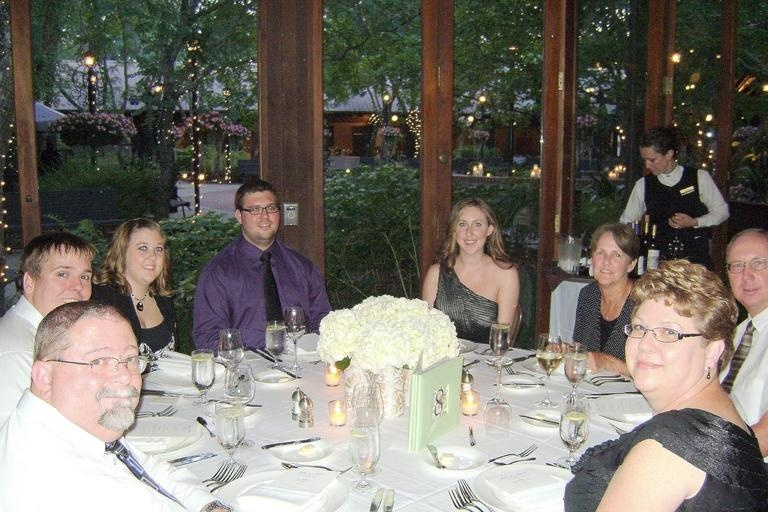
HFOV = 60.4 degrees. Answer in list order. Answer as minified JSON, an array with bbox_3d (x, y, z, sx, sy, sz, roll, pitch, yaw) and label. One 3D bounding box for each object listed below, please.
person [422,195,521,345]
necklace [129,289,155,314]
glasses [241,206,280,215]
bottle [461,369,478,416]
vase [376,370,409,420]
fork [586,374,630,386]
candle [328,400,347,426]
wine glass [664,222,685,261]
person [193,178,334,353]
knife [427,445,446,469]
[{"bbox_3d":[0.522,0.236,4.247,0.644,1.148,0.612,3,12,20],"label":"person"},{"bbox_3d":[-1.393,0.262,3.795,0.014,0.112,0.132,-13,-13,30],"label":"necklace"},{"bbox_3d":[-0.807,-0.299,4.310,0.230,0.061,0.075,-1,1,-18],"label":"glasses"},{"bbox_3d":[0.387,0.606,3.006,0.064,0.166,0.062,-5,0,0],"label":"bottle"},{"bbox_3d":[0.018,0.605,3.011,0.184,0.211,0.186,0,-5,18],"label":"vase"},{"bbox_3d":[1.116,0.614,3.317,0.215,0.033,0.073,-2,19,8],"label":"fork"},{"bbox_3d":[-0.202,0.670,2.848,0.089,0.105,0.092,0,0,2],"label":"candle"},{"bbox_3d":[2.282,-0.117,5.191,0.150,0.254,0.486,1,1,24],"label":"wine glass"},{"bbox_3d":[-0.778,0.141,4.351,0.942,1.196,0.588,-5,5,-35],"label":"person"},{"bbox_3d":[0.210,0.781,2.604,0.031,0.018,0.118,5,17,-12],"label":"knife"}]
